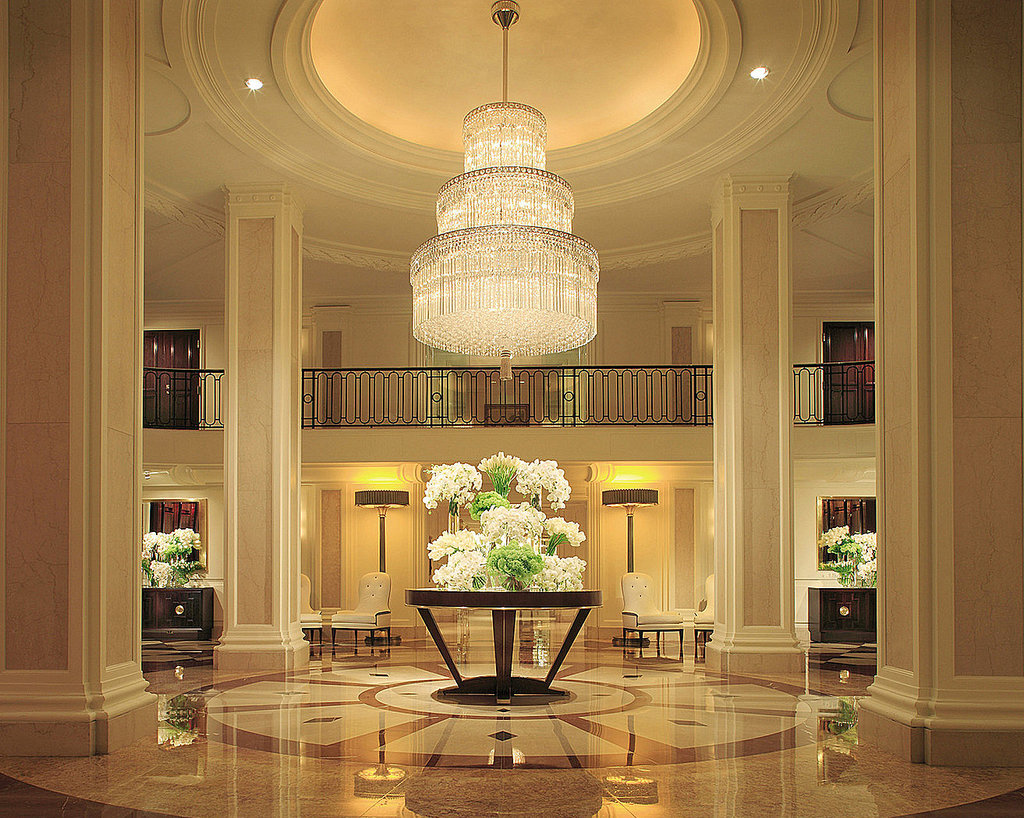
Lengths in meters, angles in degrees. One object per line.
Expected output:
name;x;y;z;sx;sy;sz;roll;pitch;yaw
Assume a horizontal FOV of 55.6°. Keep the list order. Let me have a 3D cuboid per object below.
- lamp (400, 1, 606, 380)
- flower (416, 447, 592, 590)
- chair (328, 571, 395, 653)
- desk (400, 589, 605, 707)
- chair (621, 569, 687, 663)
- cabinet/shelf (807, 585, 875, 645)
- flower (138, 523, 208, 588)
lamp;-0.052;-2.044;8.636;1.594;3.432;1.117;0;-8;3
flower;-0.012;1.164;9.935;1.360;1.222;3.829;0;-8;1
chair;-2.121;2.906;13.917;0.732;1.049;0.782;0;-12;6
desk;-0.112;2.015;8.335;1.511;0.948;1.794;1;-8;-6
chair;1.963;2.899;13.765;0.748;1.126;0.901;1;-13;-11
cabinet/shelf;5.092;3.189;15.021;0.987;0.834;0.574;-3;-9;22
flower;-5.479;2.435;15.823;0.952;0.951;0.677;3;-9;-19
